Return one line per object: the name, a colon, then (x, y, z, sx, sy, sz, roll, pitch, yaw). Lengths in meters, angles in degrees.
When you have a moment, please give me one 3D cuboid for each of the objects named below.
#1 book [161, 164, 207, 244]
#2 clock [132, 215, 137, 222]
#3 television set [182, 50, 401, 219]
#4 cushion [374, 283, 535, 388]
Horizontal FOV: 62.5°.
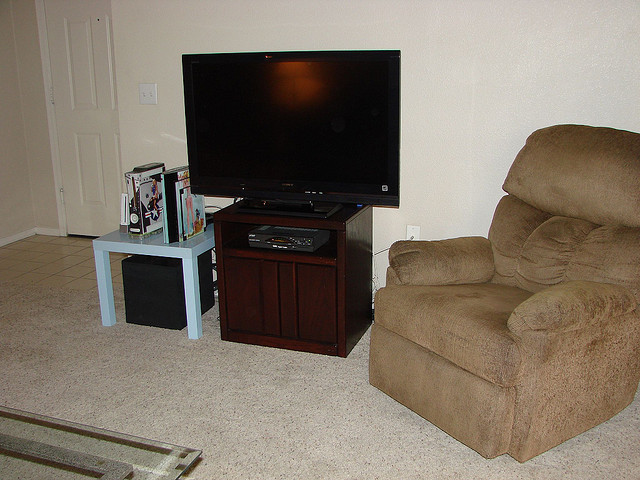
book: (-0.785, -0.204, 3.031, 0.142, 0.441, 0.358, -4, 14, 19)
clock: (-1.087, -0.127, 3.079, 0.031, 0.031, 0.007, 4, 11, 13)
television set: (-0.173, -0.607, 2.841, 1.233, 0.782, 0.097, 5, 19, 14)
cushion: (0.755, 0.307, 2.438, 0.714, 0.356, 0.697, -15, 22, -38)
